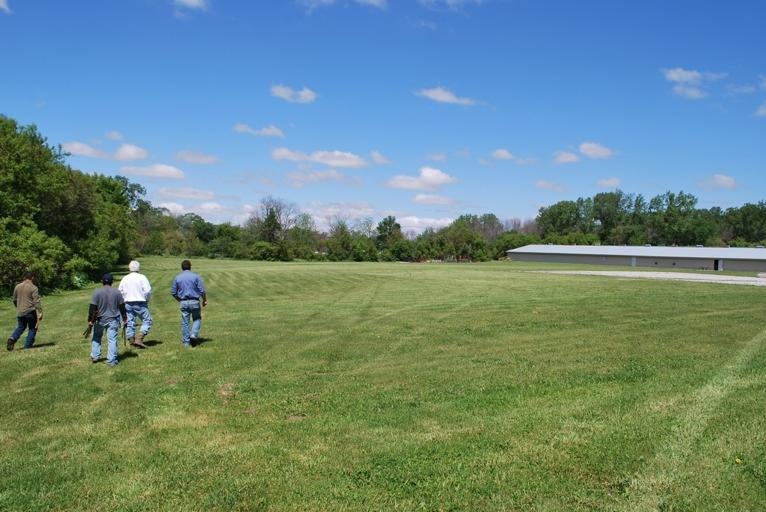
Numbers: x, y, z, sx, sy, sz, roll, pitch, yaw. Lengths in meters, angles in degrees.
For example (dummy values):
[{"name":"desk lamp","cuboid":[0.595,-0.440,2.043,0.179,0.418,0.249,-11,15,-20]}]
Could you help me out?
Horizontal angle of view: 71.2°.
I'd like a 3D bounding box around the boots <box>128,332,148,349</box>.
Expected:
[{"name":"boots","cuboid":[-7.690,2.602,16.693,0.509,0.578,0.542,8,-16,-34]}]
